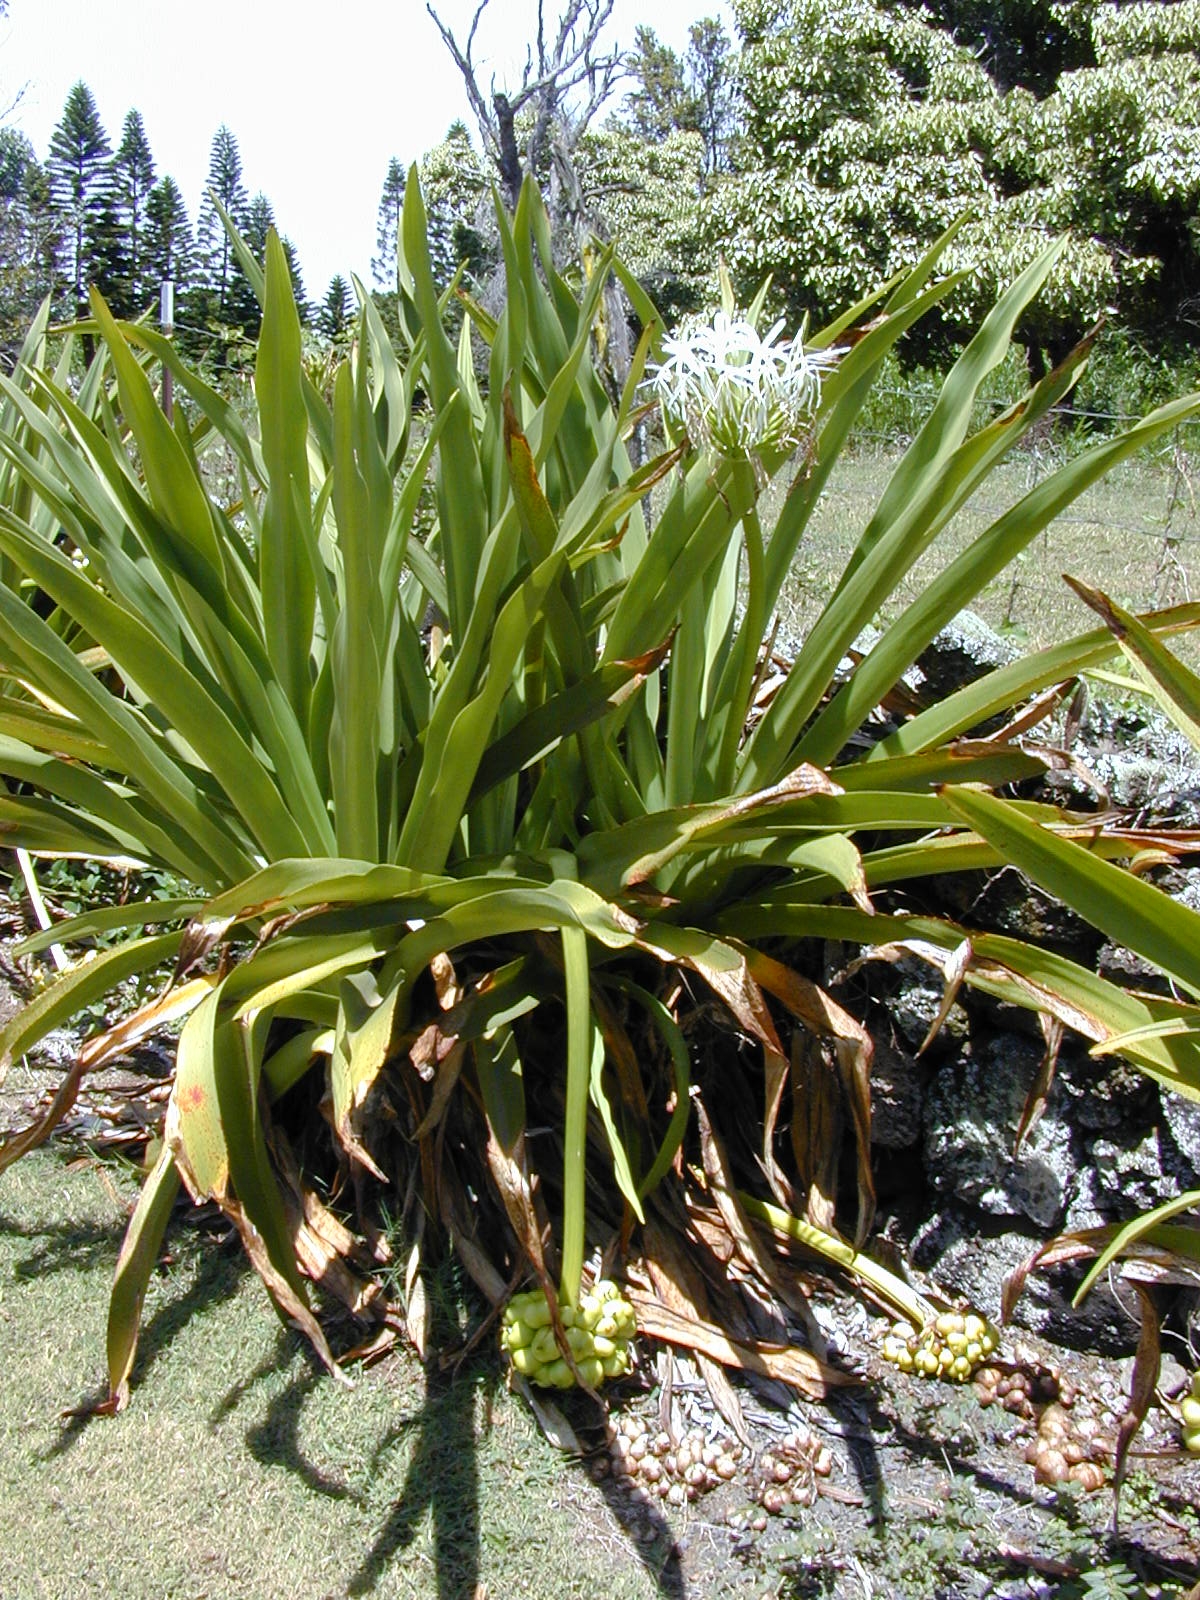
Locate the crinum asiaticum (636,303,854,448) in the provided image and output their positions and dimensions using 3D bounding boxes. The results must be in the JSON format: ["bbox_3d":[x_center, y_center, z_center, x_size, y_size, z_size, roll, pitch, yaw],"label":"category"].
[{"bbox_3d":[0.131,-0.458,1.303,0.088,0.149,0.142,-21,-26,-38],"label":"crinum asiaticum"}]
